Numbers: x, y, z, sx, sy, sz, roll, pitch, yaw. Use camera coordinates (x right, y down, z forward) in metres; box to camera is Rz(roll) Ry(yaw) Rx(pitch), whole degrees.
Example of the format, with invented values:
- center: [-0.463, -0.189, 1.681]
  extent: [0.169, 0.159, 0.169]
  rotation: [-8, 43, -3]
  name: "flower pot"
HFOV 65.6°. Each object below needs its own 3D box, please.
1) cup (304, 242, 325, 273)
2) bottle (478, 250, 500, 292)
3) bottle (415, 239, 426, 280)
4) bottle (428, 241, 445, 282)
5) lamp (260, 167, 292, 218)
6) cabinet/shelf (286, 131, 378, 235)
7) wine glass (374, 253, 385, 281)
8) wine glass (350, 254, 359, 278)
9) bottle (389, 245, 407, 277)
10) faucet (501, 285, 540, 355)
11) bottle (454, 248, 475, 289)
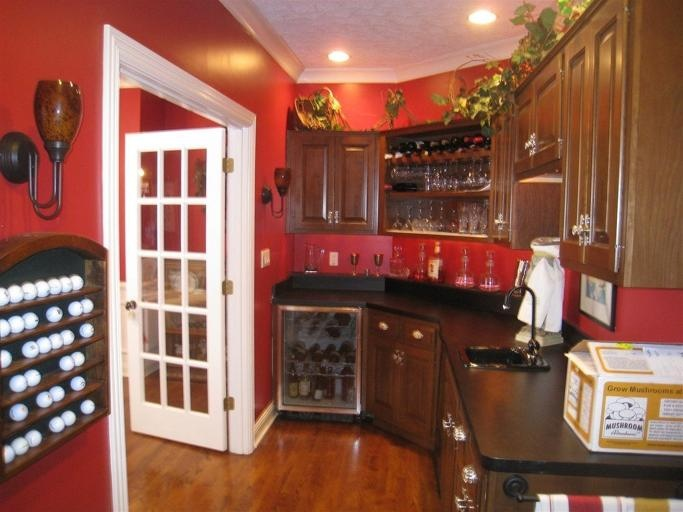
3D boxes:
- center: [-0.235, 0.012, 4.558]
  extent: [0.229, 0.267, 0.128]
  rotation: [2, -6, -18]
  name: "cup"
- center: [1.071, 0.103, 3.828]
  extent: [0.130, 0.264, 0.260]
  rotation: [-2, 3, 15]
  name: "bottle"
- center: [0.646, 0.031, 4.273]
  extent: [0.095, 0.293, 0.243]
  rotation: [-2, 3, 9]
  name: "bottle"
- center: [0.743, 0.037, 4.172]
  extent: [0.128, 0.304, 0.228]
  rotation: [-2, 3, 10]
  name: "bottle"
- center: [-0.477, -0.473, 3.953]
  extent: [0.200, 0.374, 0.133]
  rotation: [3, 17, 1]
  name: "lamp"
- center: [-0.055, -0.612, 4.144]
  extent: [0.696, 0.773, 0.269]
  rotation: [1, 7, 2]
  name: "cabinet/shelf"
- center: [0.316, 0.069, 4.442]
  extent: [0.085, 0.181, 0.212]
  rotation: [-2, 3, 4]
  name: "wine glass"
- center: [0.114, 0.063, 4.480]
  extent: [0.077, 0.178, 0.185]
  rotation: [-2, 3, 0]
  name: "wine glass"
- center: [0.468, 0.032, 4.445]
  extent: [0.144, 0.238, 0.156]
  rotation: [-2, 3, 0]
  name: "bottle"
- center: [0.948, 0.331, 2.756]
  extent: [0.169, 0.370, 0.657]
  rotation: [-1, 4, 21]
  name: "faucet"
- center: [0.923, 0.083, 3.954]
  extent: [0.127, 0.277, 0.297]
  rotation: [-2, 3, 13]
  name: "bottle"
